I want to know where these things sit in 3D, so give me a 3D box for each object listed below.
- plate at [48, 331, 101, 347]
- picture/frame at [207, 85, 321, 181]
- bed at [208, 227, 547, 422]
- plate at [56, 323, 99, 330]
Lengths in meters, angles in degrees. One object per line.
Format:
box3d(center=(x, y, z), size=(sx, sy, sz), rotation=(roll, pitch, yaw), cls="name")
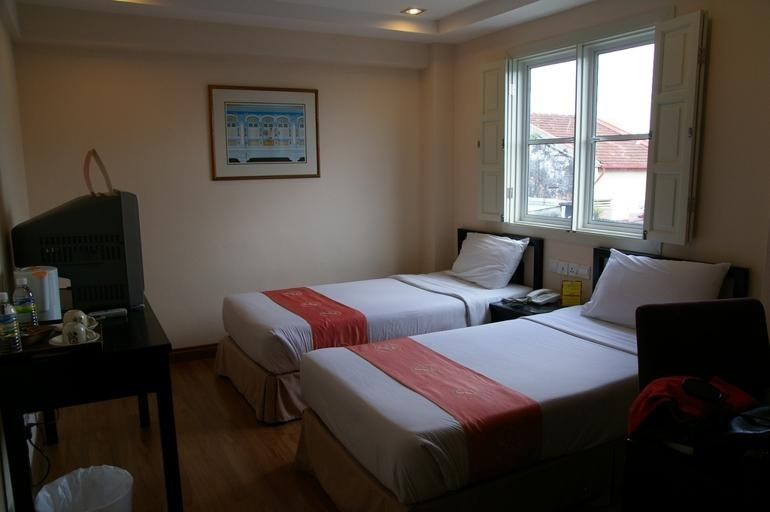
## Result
box3d(center=(-1.623, 0.398, 2.827), size=(0.131, 0.049, 0.130), rotation=(-6, 8, -38), cls="plate")
box3d(center=(-1.197, -1.237, 5.424), size=(1.083, 0.882, 0.054), rotation=(-5, 9, -21), cls="picture/frame")
box3d(center=(-0.025, 0.342, 5.050), size=(2.595, 1.107, 1.571), rotation=(-4, 10, -24), cls="bed")
box3d(center=(-1.696, 0.389, 3.020), size=(0.094, 0.016, 0.093), rotation=(3, 4, 8), cls="plate")
